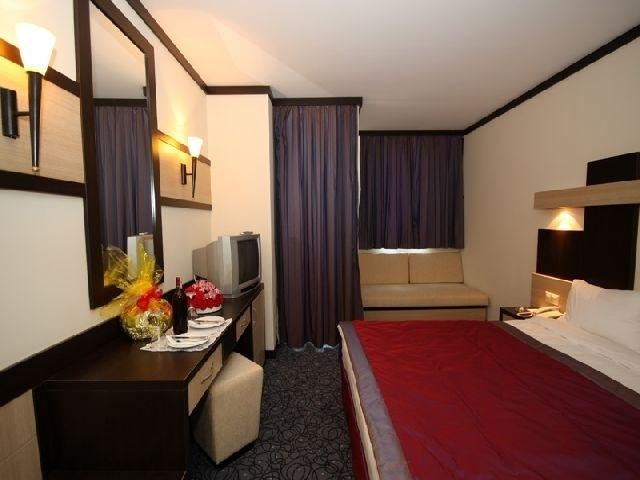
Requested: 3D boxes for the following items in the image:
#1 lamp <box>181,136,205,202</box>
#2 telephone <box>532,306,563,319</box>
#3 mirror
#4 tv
[{"bbox_3d":[-1.062,-0.603,3.700,0.146,0.486,0.388,0,4,-10],"label":"lamp"},{"bbox_3d":[1.955,0.618,3.774,0.173,0.062,0.138,-7,6,11],"label":"telephone"},{"bbox_3d":[-1.277,-0.551,2.827,0.120,1.878,0.661,2,4,17],"label":"mirror"},{"bbox_3d":[-0.792,0.197,3.767,0.419,0.529,0.593,1,2,11],"label":"tv"}]
